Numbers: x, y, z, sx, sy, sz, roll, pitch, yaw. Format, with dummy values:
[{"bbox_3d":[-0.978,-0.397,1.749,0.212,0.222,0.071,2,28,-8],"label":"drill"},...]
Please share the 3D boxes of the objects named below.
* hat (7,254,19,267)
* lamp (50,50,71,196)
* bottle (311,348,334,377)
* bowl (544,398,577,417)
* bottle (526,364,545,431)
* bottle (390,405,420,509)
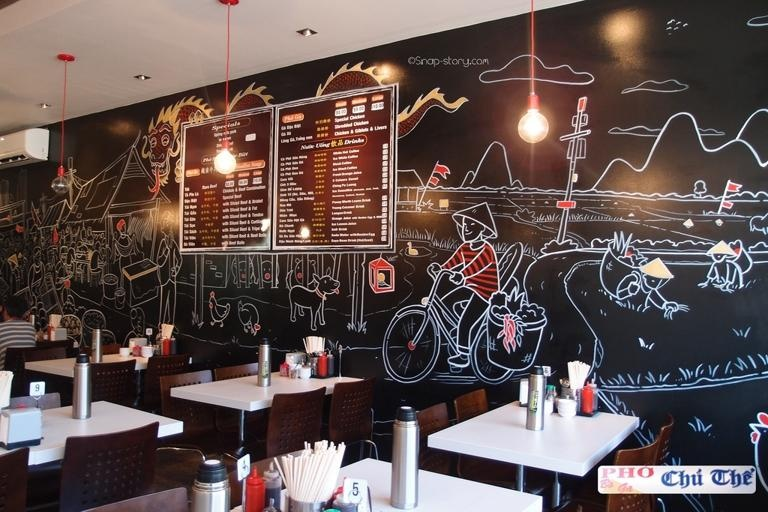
[{"bbox_3d":[-5.077,0.056,8.066,0.155,0.163,0.087,10,3,17],"label":"hat"},{"bbox_3d":[-3.450,-1.399,6.326,0.207,1.464,0.211,7,6,13],"label":"lamp"},{"bbox_3d":[-0.544,0.942,5.239,0.197,0.222,0.197,-1,2,-42],"label":"bottle"},{"bbox_3d":[1.250,1.062,4.173,0.219,0.101,0.145,-2,-5,23],"label":"bowl"},{"bbox_3d":[1.007,0.938,3.893,0.110,0.425,0.109,3,-6,0],"label":"bottle"},{"bbox_3d":[0.102,1.006,2.965,0.144,0.497,0.125,0,-4,4],"label":"bottle"}]
